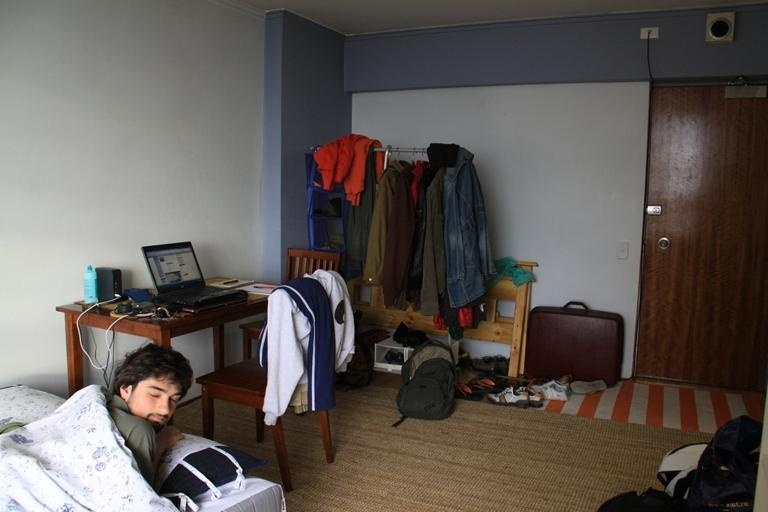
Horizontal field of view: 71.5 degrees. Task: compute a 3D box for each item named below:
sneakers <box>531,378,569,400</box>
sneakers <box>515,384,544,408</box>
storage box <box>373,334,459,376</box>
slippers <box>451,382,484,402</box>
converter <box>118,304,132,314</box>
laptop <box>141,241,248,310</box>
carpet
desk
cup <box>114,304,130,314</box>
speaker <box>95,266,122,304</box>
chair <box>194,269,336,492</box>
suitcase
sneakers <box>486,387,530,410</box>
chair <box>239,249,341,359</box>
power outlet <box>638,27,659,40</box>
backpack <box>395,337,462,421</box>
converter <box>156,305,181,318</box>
[{"bbox_3d":[1.388,1.108,4.416,0.193,0.069,0.153,2,6,20],"label":"sneakers"},{"bbox_3d":[1.176,1.135,4.316,0.148,0.069,0.163,-6,19,-24],"label":"sneakers"},{"bbox_3d":[0.088,0.882,4.866,0.504,0.211,0.421,2,9,26],"label":"storage box"},{"bbox_3d":[0.694,1.132,4.423,0.156,0.057,0.157,8,7,43],"label":"slippers"},{"bbox_3d":[-1.647,0.333,3.360,0.092,0.051,0.077,1,9,7],"label":"converter"},{"bbox_3d":[-1.335,0.123,3.703,0.526,0.340,0.513,8,11,18],"label":"laptop"},{"bbox_3d":[2.179,1.171,4.301,1.682,0.070,0.858,3,9,17],"label":"carpet"},{"bbox_3d":[-1.503,0.504,3.591,0.717,0.794,0.953,4,8,28],"label":"desk"},{"bbox_3d":[-1.660,0.330,3.357,0.068,0.042,0.069,1,7,0],"label":"cup"},{"bbox_3d":[-1.855,0.203,3.563,0.214,0.221,0.085,4,-2,30],"label":"speaker"},{"bbox_3d":[-0.684,0.731,3.543,0.829,1.341,0.888,13,13,39],"label":"chair"},{"bbox_3d":[1.686,0.787,4.646,0.691,0.617,0.228,2,6,15],"label":"suitcase"},{"bbox_3d":[1.018,1.133,4.337,0.349,0.154,0.129,4,4,23],"label":"sneakers"},{"bbox_3d":[-0.717,0.486,4.232,0.636,1.030,0.636,15,23,38],"label":"chair"},{"bbox_3d":[2.186,-1.836,4.391,0.111,0.081,0.014,4,8,27],"label":"power outlet"},{"bbox_3d":[0.348,1.001,4.283,0.487,0.244,0.658,3,52,20],"label":"backpack"},{"bbox_3d":[-1.375,0.329,3.374,0.095,0.029,0.095,4,8,5],"label":"converter"}]
